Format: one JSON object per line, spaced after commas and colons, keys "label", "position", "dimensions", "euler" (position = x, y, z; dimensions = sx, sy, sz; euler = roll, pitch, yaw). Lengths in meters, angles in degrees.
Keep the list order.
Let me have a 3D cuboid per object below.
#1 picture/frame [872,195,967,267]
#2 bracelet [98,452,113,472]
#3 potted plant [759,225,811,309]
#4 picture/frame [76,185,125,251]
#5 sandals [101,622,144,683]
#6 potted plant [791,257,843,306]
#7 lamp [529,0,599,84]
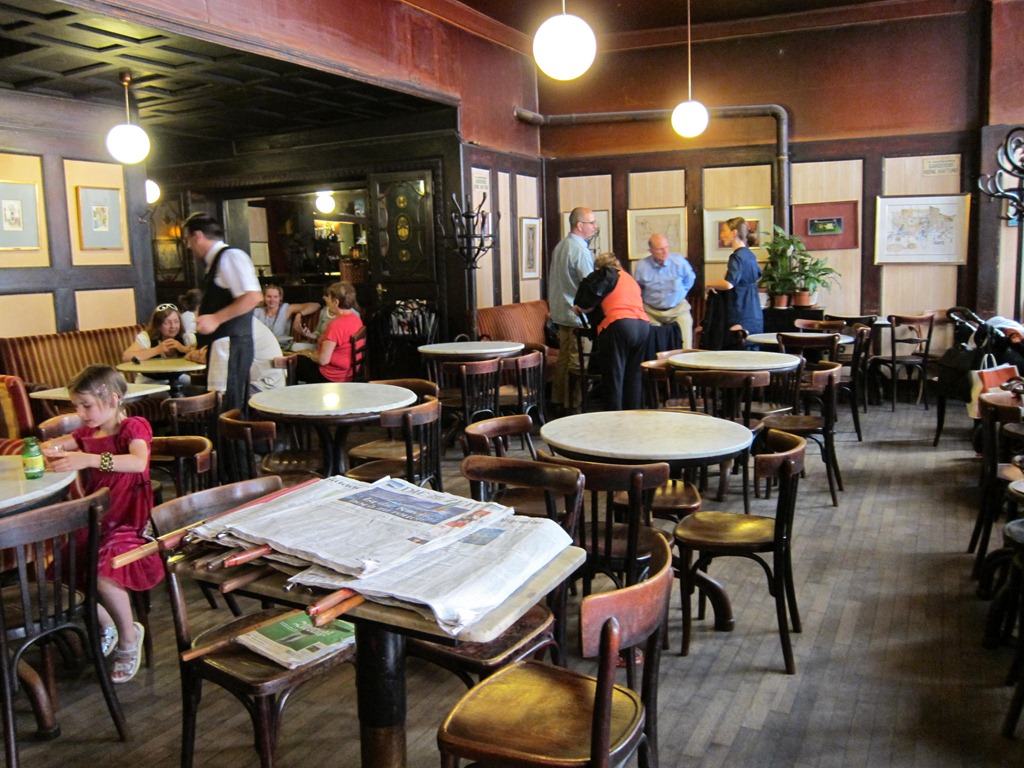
{"label": "picture/frame", "position": [4.688, -1.781, 9.564], "dimensions": [1.071, 0.729, 0.106], "euler": [2, 6, 19]}
{"label": "bracelet", "position": [-1.866, 0.358, 3.850], "dimensions": [0.112, 0.087, 0.029], "euler": [3, -8, -14]}
{"label": "potted plant", "position": [3.085, -1.267, 9.227], "dimensions": [0.641, 0.749, 0.615], "euler": [8, 13, 24]}
{"label": "picture/frame", "position": [-4.073, -1.637, 8.289], "dimensions": [0.078, 0.615, 0.523], "euler": [0, 11, 20]}
{"label": "sandals", "position": [-1.836, 1.277, 3.974], "dimensions": [0.141, 0.293, 0.133], "euler": [1, -4, 12]}
{"label": "potted plant", "position": [3.273, -1.148, 9.255], "dimensions": [0.832, 0.457, 0.735], "euler": [1, 9, 12]}
{"label": "lamp", "position": [0.351, -2.314, 5.714], "dimensions": [0.397, 0.424, 0.200], "euler": [-3, 11, 3]}
